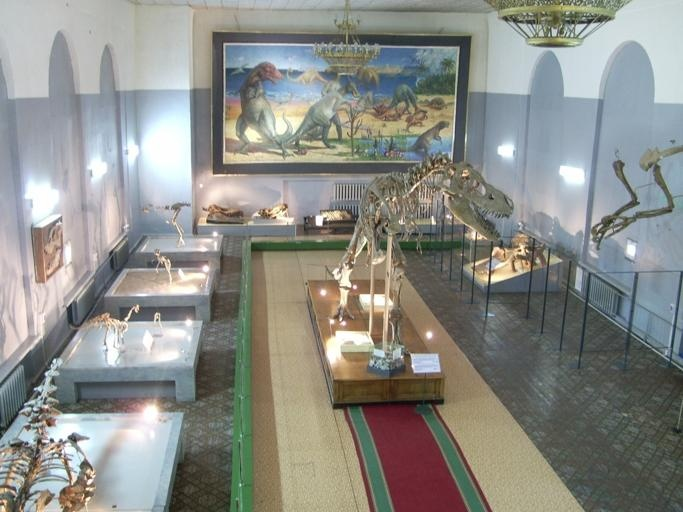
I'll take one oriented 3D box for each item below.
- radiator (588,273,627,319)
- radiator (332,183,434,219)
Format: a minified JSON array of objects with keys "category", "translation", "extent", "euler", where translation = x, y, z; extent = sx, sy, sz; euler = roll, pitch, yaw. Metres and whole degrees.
[{"category":"radiator","translation":[4.415,0.755,8.265],"extent":[0.182,0.750,0.640],"euler":[-11,26,-18]},{"category":"radiator","translation":[0.953,-1.292,11.009],"extent":[2.226,1.469,0.291],"euler":[0,3,-2]}]
